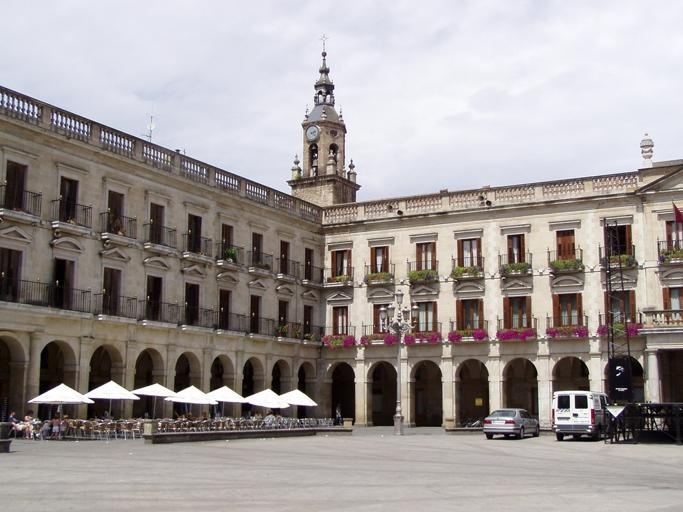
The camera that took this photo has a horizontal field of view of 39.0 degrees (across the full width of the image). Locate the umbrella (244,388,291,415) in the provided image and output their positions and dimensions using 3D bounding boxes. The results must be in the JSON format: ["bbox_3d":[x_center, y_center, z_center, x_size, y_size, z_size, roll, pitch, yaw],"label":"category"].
[{"bbox_3d":[-3.805,7.500,49.926,2.104,0.909,2.162,10,-5,-15],"label":"umbrella"}]

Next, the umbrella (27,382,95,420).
[{"bbox_3d":[-12.568,6.277,43.126,2.197,1.131,2.260,5,-15,-16],"label":"umbrella"}]

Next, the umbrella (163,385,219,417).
[{"bbox_3d":[-7.446,7.353,48.524,2.251,1.683,1.726,-5,-8,33],"label":"umbrella"}]

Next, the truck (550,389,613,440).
[{"bbox_3d":[12.138,7.986,48.551,2.440,2.222,4.216,-3,-9,26],"label":"truck"}]

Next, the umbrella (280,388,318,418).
[{"bbox_3d":[-2.319,7.789,51.764,2.477,1.231,2.524,6,-8,4],"label":"umbrella"}]

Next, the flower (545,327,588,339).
[{"bbox_3d":[13.712,4.613,58.529,2.389,0.790,0.479,1,1,17],"label":"flower"}]

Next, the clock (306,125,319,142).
[{"bbox_3d":[-2.165,-9.279,72.587,1.042,1.067,0.247,7,1,36],"label":"clock"}]

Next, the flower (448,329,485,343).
[{"bbox_3d":[7.990,5.056,61.114,2.448,0.923,0.396,1,1,19],"label":"flower"}]

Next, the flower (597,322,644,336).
[{"bbox_3d":[16.647,4.368,56.776,1.272,0.430,1.065,-19,-25,36],"label":"flower"}]

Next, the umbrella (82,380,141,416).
[{"bbox_3d":[-11.165,6.495,45.915,2.669,2.070,2.694,2,-10,-3],"label":"umbrella"}]
